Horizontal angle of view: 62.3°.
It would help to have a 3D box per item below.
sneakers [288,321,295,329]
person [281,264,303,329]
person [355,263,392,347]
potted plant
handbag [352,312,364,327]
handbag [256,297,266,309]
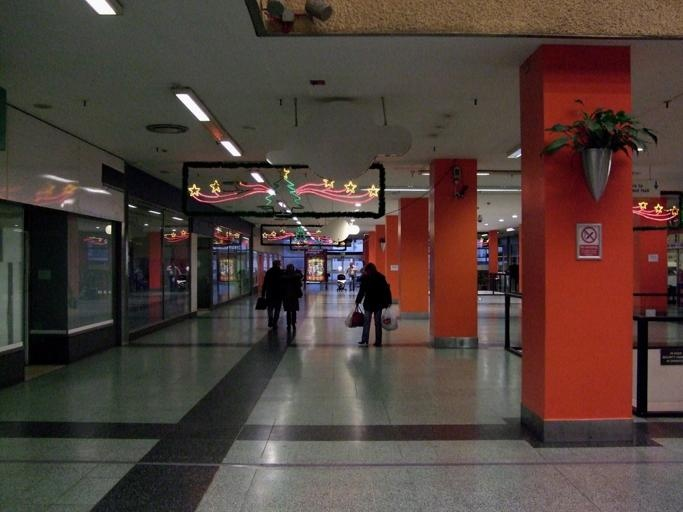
[{"bbox_3d":[-1.121,1.518,12.587,0.149,0.156,0.251,-6,-13,0],"label":"sneakers"},{"bbox_3d":[-1.116,0.902,12.638,0.427,1.548,1.141,0,7,-6],"label":"person"},{"bbox_3d":[0.593,0.903,10.719,0.636,1.594,0.811,0,7,-2],"label":"person"},{"bbox_3d":[2.743,-1.166,6.140,1.031,1.081,0.480,2,7,15],"label":"potted plant"},{"bbox_3d":[0.290,1.140,10.462,0.245,0.255,0.143,-4,8,-29],"label":"handbag"},{"bbox_3d":[-1.815,1.061,12.706,0.258,0.266,0.179,7,3,38],"label":"handbag"}]
